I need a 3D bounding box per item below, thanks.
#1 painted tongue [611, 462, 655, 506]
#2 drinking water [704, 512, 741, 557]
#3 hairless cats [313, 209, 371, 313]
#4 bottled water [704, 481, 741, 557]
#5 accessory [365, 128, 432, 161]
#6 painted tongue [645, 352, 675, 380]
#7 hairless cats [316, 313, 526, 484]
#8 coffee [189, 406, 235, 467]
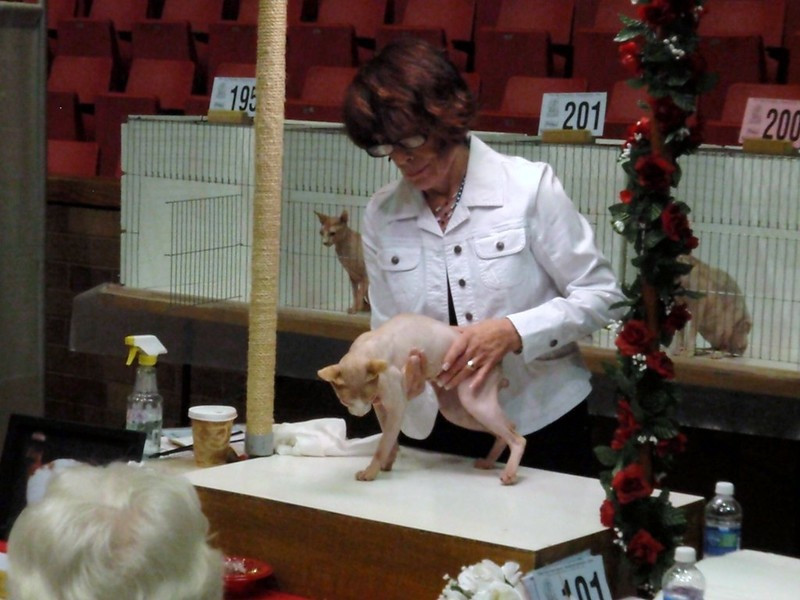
[{"bbox_3d":[0.456,0.350,1.878,0.083,0.050,0.097,-12,21,42],"label":"painted tongue"},{"bbox_3d":[0.763,0.548,2.261,0.085,0.117,0.097,-3,18,9],"label":"drinking water"},{"bbox_3d":[-0.237,-0.182,3.863,0.205,0.435,0.210,-8,21,-19],"label":"hairless cats"},{"bbox_3d":[0.756,0.517,2.243,0.102,0.188,0.087,-9,13,-30],"label":"bottled water"},{"bbox_3d":[-0.019,-0.357,2.224,0.072,0.045,0.190,0,5,-37],"label":"accessory"},{"bbox_3d":[0.518,0.130,1.874,0.036,0.059,0.087,5,5,41],"label":"painted tongue"},{"bbox_3d":[0.054,0.231,2.214,0.454,0.424,0.320,1,2,-13],"label":"hairless cats"},{"bbox_3d":[-0.486,0.339,2.445,0.112,0.139,0.120,0,5,-20],"label":"coffee"}]
